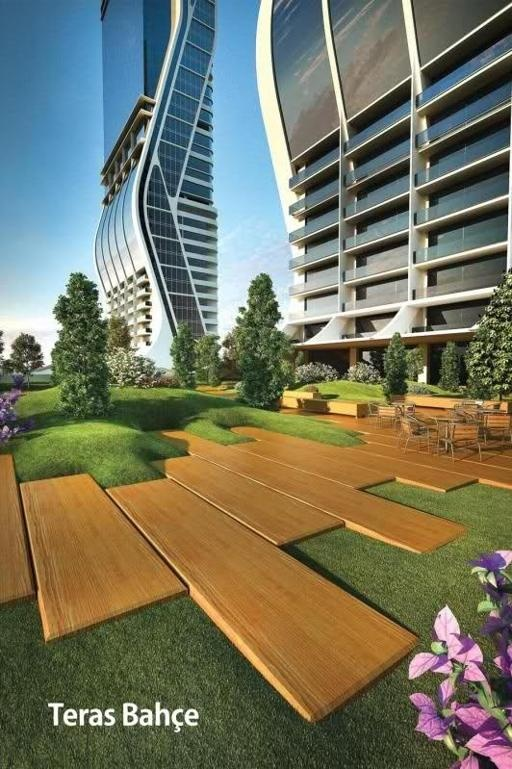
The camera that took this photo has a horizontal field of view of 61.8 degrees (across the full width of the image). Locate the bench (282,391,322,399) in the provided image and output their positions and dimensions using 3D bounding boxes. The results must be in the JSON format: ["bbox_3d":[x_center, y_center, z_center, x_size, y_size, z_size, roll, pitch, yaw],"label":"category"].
[{"bbox_3d":[1.940,0.472,18.599,0.618,0.210,1.671,-3,3,-37],"label":"bench"}]

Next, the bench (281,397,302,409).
[{"bbox_3d":[1.542,0.814,18.703,0.189,0.502,1.551,-2,2,-27],"label":"bench"}]

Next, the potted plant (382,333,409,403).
[{"bbox_3d":[5.810,-0.692,18.067,0.789,2.711,1.425,0,3,38],"label":"potted plant"}]
